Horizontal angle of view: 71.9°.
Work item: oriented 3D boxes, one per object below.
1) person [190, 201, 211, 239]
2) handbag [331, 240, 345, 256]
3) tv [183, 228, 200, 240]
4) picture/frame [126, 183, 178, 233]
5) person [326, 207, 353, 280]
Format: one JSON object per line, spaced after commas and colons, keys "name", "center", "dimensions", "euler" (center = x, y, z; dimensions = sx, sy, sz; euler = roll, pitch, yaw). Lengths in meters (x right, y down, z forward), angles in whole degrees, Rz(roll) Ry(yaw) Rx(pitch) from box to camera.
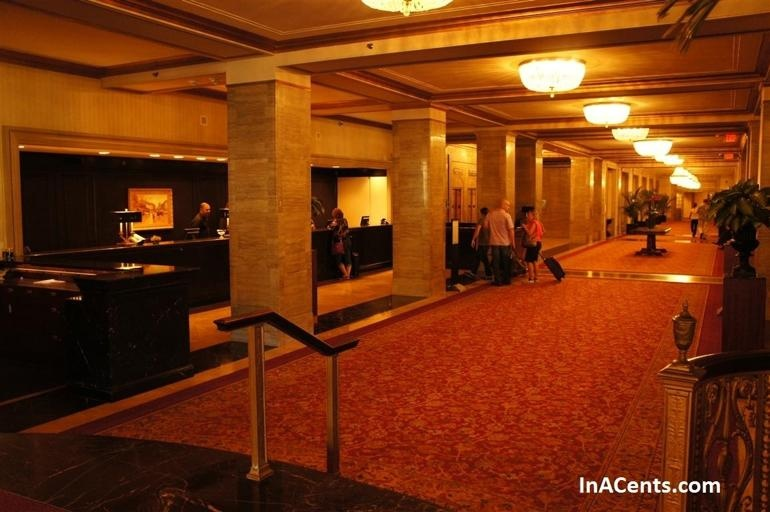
{"name": "person", "center": [-4.240, -0.839, 12.242], "dimensions": [0.365, 0.721, 0.823], "euler": [-3, 15, -19]}
{"name": "handbag", "center": [-1.177, -0.199, 13.694], "dimensions": [0.198, 0.394, 0.372], "euler": [10, 16, 26]}
{"name": "tv", "center": [-4.354, -0.472, 12.011], "dimensions": [0.303, 0.250, 0.708], "euler": [-3, 15, -19]}
{"name": "picture/frame", "center": [-5.959, -1.238, 13.466], "dimensions": [0.128, 1.217, 1.627], "euler": [1, 2, 29]}
{"name": "person", "center": [-1.180, -0.286, 13.904], "dimensions": [0.534, 1.892, 0.794], "euler": [4, 15, 6]}
